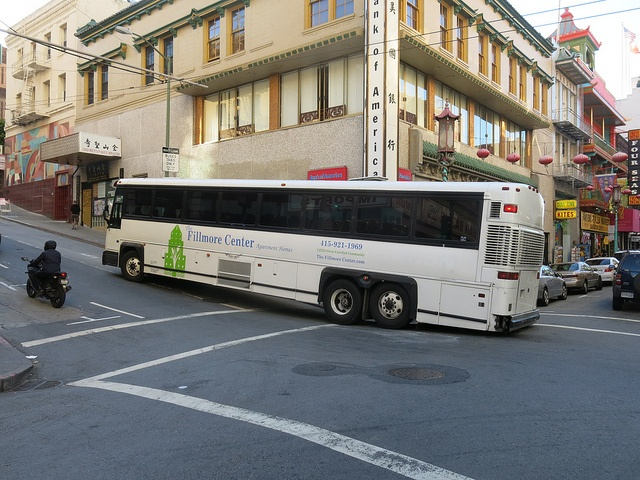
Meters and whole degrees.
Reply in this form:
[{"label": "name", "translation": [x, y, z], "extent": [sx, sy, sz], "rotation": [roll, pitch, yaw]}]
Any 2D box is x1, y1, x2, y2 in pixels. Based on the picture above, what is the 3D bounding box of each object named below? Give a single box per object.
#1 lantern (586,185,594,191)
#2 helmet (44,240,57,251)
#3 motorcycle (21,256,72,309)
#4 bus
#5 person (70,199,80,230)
[{"label": "lantern", "translation": [20.878, -4.069, 45.960], "extent": [0.609, 0.367, 0.640], "rotation": [-1, -2, -3]}, {"label": "helmet", "translation": [-7.979, 0.159, 17.556], "extent": [0.321, 0.433, 0.409], "rotation": [-3, 11, -37]}, {"label": "motorcycle", "translation": [-7.449, 1.229, 16.365], "extent": [1.678, 1.089, 0.889], "rotation": [15, -13, 40]}, {"label": "bus", "translation": [-1.029, 0.089, 17.843], "extent": [14.207, 3.778, 2.712], "rotation": [4, 6, 34]}, {"label": "person", "translation": [-15.820, -1.598, 38.418], "extent": [0.481, 1.682, 2.875], "rotation": [-2, 5, -23]}]
